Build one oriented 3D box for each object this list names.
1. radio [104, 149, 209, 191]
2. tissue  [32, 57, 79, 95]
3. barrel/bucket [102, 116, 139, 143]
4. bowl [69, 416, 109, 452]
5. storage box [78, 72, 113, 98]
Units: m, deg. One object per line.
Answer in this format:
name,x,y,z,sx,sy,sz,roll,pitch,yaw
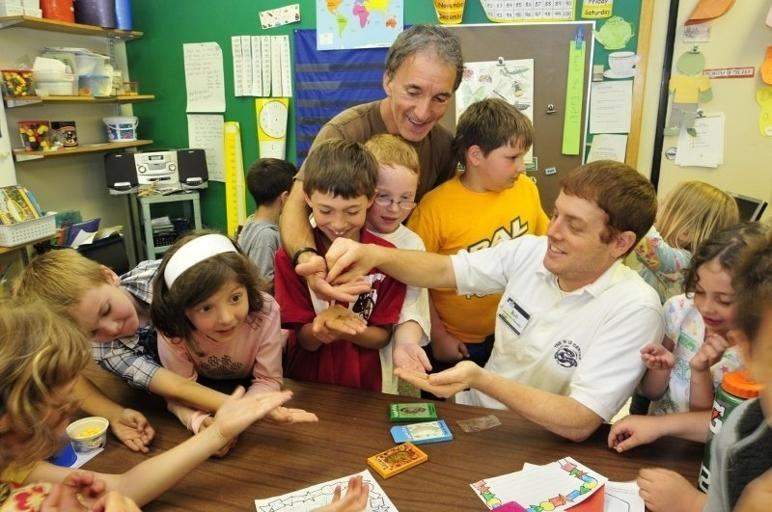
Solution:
radio,-2.061,-0.777,4.584,0.844,0.403,0.428,-2,5,-19
tissue ,-2.630,-1.385,4.030,0.256,0.317,0.336,-8,11,-32
barrel/bucket,-2.425,-1.141,4.708,0.314,0.234,0.280,-5,8,-31
bowl,-1.057,0.644,1.814,0.130,0.064,0.130,5,-25,3
storage box,-2.407,-1.422,4.260,0.209,0.125,0.194,4,12,12
